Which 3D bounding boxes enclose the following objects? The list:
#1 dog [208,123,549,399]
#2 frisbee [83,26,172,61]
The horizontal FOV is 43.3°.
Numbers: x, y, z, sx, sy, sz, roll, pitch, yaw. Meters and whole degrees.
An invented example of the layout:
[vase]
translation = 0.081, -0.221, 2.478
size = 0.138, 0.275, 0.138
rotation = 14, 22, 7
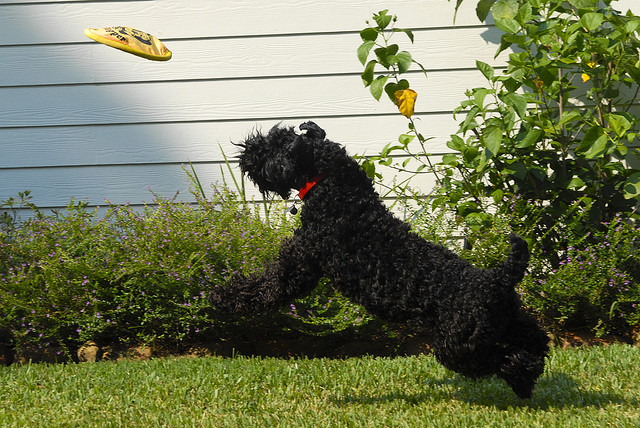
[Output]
[dog]
translation = 0.773, 0.307, 7.144
size = 1.244, 1.735, 3.844
rotation = -33, 37, -27
[frisbee]
translation = -2.109, -1.905, 8.999
size = 0.606, 0.126, 0.560
rotation = 9, 9, -31
